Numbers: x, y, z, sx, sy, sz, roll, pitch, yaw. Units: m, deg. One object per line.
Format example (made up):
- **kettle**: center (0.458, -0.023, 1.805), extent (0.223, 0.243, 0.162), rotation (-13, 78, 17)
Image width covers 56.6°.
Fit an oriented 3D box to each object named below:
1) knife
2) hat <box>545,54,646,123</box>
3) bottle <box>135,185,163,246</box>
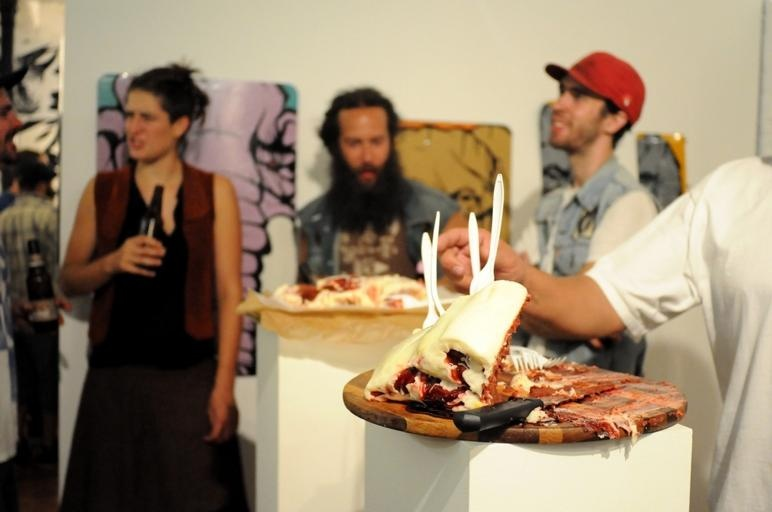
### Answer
- **knife**: center (0.320, 0.309, 1.554), extent (0.507, 0.043, 0.111), rotation (-7, 10, -44)
- **hat**: center (0.687, -0.564, 2.424), extent (0.281, 0.140, 0.215), rotation (36, 2, -16)
- **bottle**: center (-0.728, -0.138, 2.234), extent (0.082, 0.154, 0.035), rotation (-6, 15, -25)
